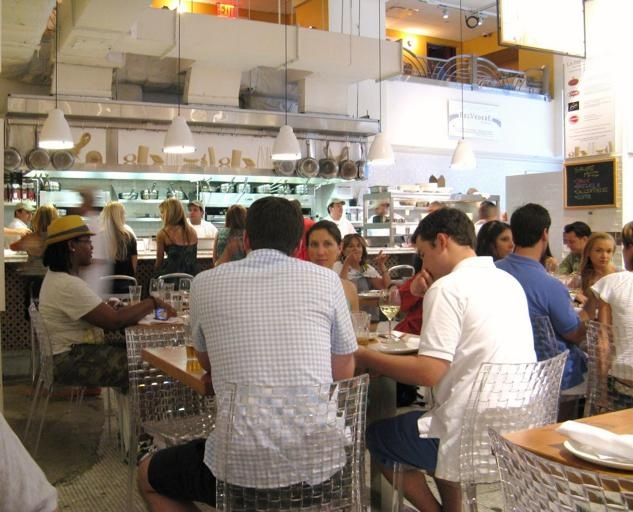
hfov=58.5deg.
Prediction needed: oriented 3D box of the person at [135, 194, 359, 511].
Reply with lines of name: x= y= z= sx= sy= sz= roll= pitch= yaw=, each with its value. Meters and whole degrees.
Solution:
person: x=-0.251 y=0.361 z=1.918 sx=0.721 sy=1.130 sz=0.347 roll=3 pitch=2 yaw=17

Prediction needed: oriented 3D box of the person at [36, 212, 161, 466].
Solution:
person: x=-1.440 y=0.527 z=3.687 sx=0.683 sy=1.521 sz=0.786 roll=-4 pitch=-7 yaw=45

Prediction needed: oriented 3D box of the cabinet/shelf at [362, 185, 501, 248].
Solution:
cabinet/shelf: x=1.980 y=-0.579 z=9.018 sx=1.688 sy=0.723 sz=0.555 roll=3 pitch=-2 yaw=6

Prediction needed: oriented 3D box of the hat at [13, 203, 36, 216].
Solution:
hat: x=-3.742 y=-0.606 z=7.234 sx=0.229 sy=0.128 sz=0.170 roll=-5 pitch=3 yaw=-32

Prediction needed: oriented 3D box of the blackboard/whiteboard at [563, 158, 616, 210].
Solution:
blackboard/whiteboard: x=3.558 y=-0.938 z=7.329 sx=0.087 sy=0.662 sz=0.652 roll=-3 pitch=5 yaw=-30

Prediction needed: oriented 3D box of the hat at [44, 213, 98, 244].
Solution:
hat: x=-1.525 y=-0.130 z=3.490 sx=0.227 sy=0.099 sz=0.197 roll=-15 pitch=5 yaw=-11

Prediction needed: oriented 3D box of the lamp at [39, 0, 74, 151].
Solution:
lamp: x=-2.921 y=-1.968 z=6.364 sx=0.363 sy=1.583 sz=1.567 roll=1 pitch=2 yaw=-26

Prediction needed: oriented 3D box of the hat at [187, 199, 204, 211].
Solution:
hat: x=-1.576 y=-0.672 z=7.349 sx=0.214 sy=0.074 sz=0.233 roll=1 pitch=1 yaw=2
